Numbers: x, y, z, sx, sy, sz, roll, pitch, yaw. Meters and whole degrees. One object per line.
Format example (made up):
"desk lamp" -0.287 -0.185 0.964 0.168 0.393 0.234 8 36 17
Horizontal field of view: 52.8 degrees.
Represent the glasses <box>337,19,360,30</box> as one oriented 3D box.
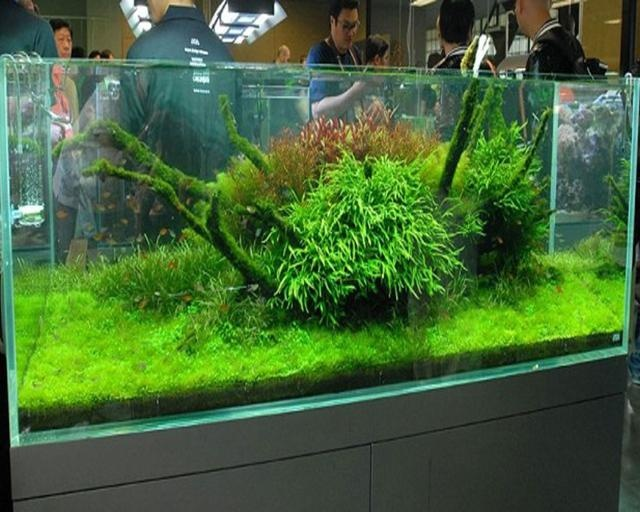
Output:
"glasses" 0.135 -1.141 3.179 0.056 0.024 0.066 -12 33 -25
